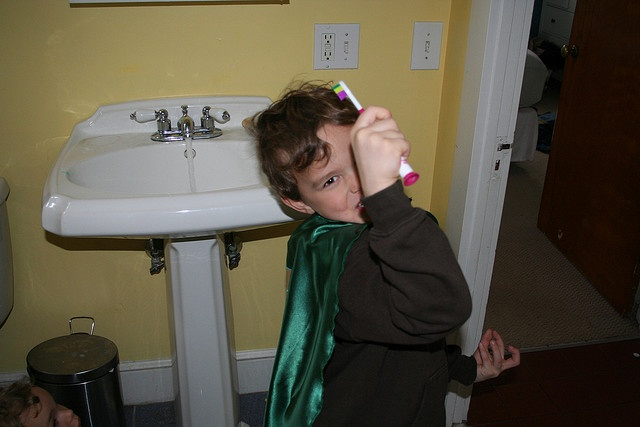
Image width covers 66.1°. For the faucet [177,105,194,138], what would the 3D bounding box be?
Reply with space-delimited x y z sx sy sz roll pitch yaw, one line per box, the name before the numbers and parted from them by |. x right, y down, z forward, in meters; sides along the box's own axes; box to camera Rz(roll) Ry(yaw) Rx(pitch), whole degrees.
faucet | -0.456 -0.311 1.664 0.051 0.102 0.075 -12 21 -20
